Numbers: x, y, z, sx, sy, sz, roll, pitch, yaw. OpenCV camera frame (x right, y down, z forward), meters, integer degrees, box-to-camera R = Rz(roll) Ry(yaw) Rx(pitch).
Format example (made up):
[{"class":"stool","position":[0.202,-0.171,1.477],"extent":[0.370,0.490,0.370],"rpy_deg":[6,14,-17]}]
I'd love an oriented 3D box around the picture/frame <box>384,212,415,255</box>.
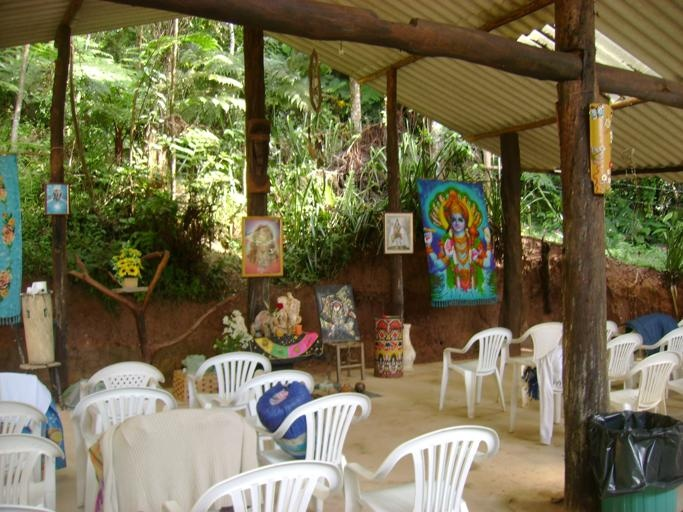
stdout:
[{"class":"picture/frame","position":[0.916,-0.375,11.180],"extent":[0.486,0.787,0.065],"rpy_deg":[0,33,6]}]

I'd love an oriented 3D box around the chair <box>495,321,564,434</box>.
[{"class":"chair","position":[2.270,1.351,8.346],"extent":[0.635,1.177,0.797],"rpy_deg":[6,5,7]}]

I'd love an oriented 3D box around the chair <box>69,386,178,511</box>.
[{"class":"chair","position":[-2.126,1.828,6.596],"extent":[0.802,1.174,1.752],"rpy_deg":[1,-5,-23]}]

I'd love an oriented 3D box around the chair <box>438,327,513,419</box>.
[{"class":"chair","position":[1.732,1.472,9.137],"extent":[0.785,1.218,0.868],"rpy_deg":[3,5,26]}]

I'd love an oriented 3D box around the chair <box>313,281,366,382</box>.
[{"class":"chair","position":[-0.021,1.205,11.198],"extent":[0.770,1.535,1.441],"rpy_deg":[-1,-4,0]}]

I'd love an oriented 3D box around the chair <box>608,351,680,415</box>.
[{"class":"chair","position":[3.234,1.348,7.436],"extent":[0.696,0.651,0.552],"rpy_deg":[-3,-4,27]}]

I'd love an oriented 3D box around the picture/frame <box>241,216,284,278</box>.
[{"class":"picture/frame","position":[-1.106,-0.154,9.753],"extent":[0.594,1.014,0.112],"rpy_deg":[-2,33,-11]}]

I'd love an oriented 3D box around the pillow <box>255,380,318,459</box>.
[{"class":"pillow","position":[-0.502,1.461,6.091],"extent":[0.436,0.681,0.310],"rpy_deg":[-2,-3,13]}]

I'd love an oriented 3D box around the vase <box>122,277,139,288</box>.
[{"class":"vase","position":[-3.010,0.391,9.907],"extent":[0.147,0.130,0.165],"rpy_deg":[1,-3,-11]}]

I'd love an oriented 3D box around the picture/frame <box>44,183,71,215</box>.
[{"class":"picture/frame","position":[-3.853,-0.786,9.429],"extent":[0.326,0.533,0.063],"rpy_deg":[-6,39,-30]}]

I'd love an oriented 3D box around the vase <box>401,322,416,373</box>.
[{"class":"vase","position":[1.103,1.518,11.515],"extent":[0.142,0.762,0.320],"rpy_deg":[-3,-4,36]}]

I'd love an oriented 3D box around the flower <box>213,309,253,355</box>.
[{"class":"flower","position":[-1.426,1.012,9.834],"extent":[0.294,0.519,0.344],"rpy_deg":[-8,21,-33]}]
